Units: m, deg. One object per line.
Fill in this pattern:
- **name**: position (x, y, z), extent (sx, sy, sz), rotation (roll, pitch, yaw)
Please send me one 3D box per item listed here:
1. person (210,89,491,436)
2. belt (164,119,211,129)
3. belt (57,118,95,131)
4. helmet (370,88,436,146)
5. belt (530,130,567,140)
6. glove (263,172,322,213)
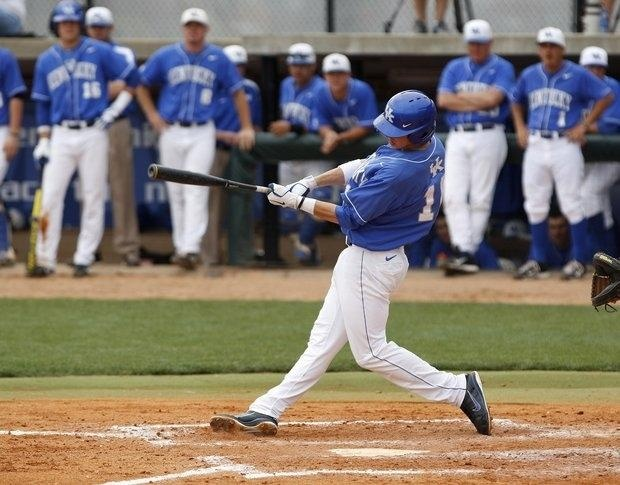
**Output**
- **person**: position (0.129, 0.087, 8.102), extent (1.296, 2.182, 1.088), rotation (0, 2, -18)
- **belt**: position (-0.809, -0.808, 9.280), extent (0.303, 0.040, 0.049), rotation (-2, 13, -11)
- **belt**: position (-1.479, -0.761, 8.753), extent (0.238, 0.058, 0.025), rotation (-2, 13, -14)
- **helmet**: position (0.534, -0.708, 7.651), extent (0.335, 0.276, 0.249), rotation (1, 13, 2)
- **belt**: position (1.793, -0.824, 10.304), extent (0.247, 0.064, 0.033), rotation (4, 13, 14)
- **glove**: position (-0.072, -0.293, 7.833), extent (0.282, 0.221, 0.224), rotation (2, 10, 6)
